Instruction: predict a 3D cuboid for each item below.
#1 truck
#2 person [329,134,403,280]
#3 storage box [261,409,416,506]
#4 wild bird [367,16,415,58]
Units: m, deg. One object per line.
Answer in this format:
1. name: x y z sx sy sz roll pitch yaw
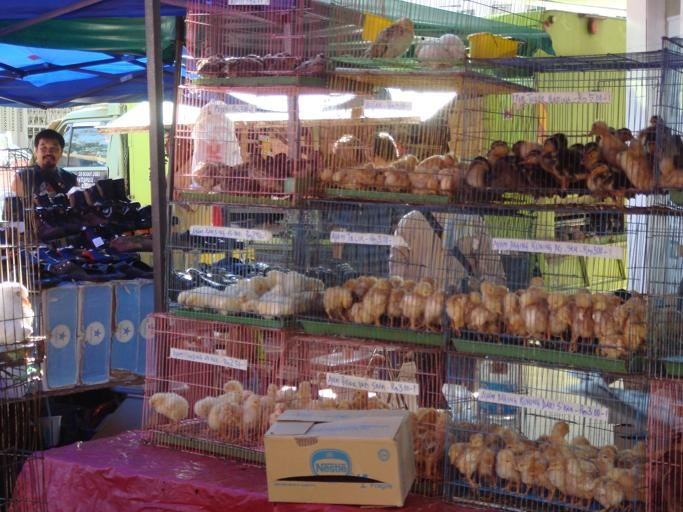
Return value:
1. truck: 0.103 -0.813 7.047 3.676 1.482 6.200 0 5 30
2. person: 0.129 -0.285 5.307 0.480 0.888 0.288 1 -7 14
3. storage box: -0.002 1.131 4.718 0.806 0.480 0.355 1 4 8
4. wild bird: 0.312 -1.323 5.167 0.287 0.268 0.179 -6 3 10
